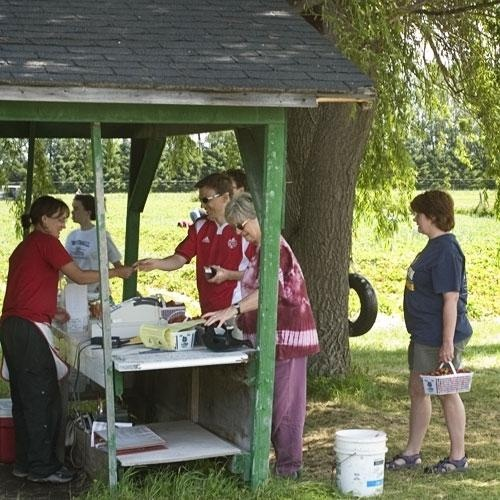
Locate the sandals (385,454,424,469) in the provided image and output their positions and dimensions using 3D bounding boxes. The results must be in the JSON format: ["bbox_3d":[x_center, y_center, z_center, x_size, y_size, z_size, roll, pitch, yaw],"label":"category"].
[{"bbox_3d":[1.144,1.593,5.860,0.250,0.133,0.116,4,-9,-2],"label":"sandals"}]

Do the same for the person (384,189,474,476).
[{"bbox_3d":[1.322,0.601,5.798,0.517,2.068,0.530,2,4,33],"label":"person"}]

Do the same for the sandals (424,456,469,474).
[{"bbox_3d":[1.445,1.573,5.788,0.288,0.151,0.133,1,-11,-6],"label":"sandals"}]

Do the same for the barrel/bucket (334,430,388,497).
[{"bbox_3d":[0.728,1.397,5.231,0.309,0.394,0.361,1,3,-5],"label":"barrel/bucket"}]

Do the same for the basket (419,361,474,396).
[{"bbox_3d":[1.391,0.939,5.633,0.324,0.292,0.214,3,-13,-27],"label":"basket"}]

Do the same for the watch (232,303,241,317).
[{"bbox_3d":[-0.089,0.393,5.081,0.041,0.074,0.071,2,8,-9],"label":"watch"}]

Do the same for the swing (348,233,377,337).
[{"bbox_3d":[1.376,0.591,9.466,0.207,0.881,0.773,-4,17,-13],"label":"swing"}]

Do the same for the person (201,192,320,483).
[{"bbox_3d":[0.106,0.619,5.348,0.718,1.979,0.500,-1,3,-18],"label":"person"}]

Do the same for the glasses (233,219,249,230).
[{"bbox_3d":[-0.059,-0.157,5.142,0.060,0.023,0.068,-23,27,53],"label":"glasses"}]

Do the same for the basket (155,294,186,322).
[{"bbox_3d":[-0.547,0.427,5.671,0.131,0.273,0.213,-6,-10,36],"label":"basket"}]
